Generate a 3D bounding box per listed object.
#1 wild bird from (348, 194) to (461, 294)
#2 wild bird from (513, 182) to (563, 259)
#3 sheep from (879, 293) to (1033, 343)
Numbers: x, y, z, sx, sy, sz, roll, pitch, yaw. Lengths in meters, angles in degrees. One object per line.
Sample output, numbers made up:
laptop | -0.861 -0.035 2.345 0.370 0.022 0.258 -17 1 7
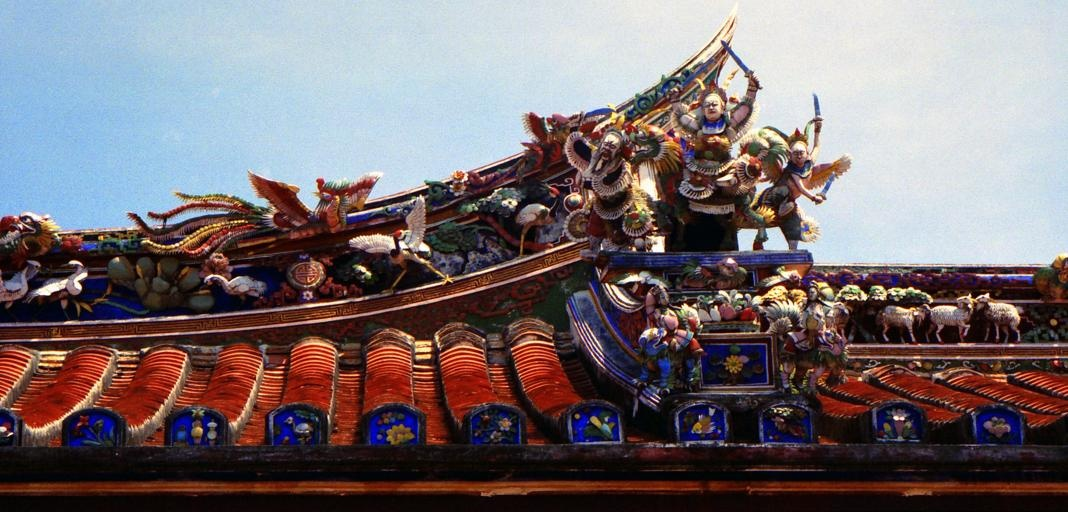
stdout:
wild bird | -2.266 -0.142 37.092 1.316 1.446 1.075 -16 -48 15
wild bird | 0.083 -0.630 37.475 0.819 0.565 1.279 0 -89 1
sheep | 7.090 1.034 37.010 2.402 0.595 0.642 0 -45 0
